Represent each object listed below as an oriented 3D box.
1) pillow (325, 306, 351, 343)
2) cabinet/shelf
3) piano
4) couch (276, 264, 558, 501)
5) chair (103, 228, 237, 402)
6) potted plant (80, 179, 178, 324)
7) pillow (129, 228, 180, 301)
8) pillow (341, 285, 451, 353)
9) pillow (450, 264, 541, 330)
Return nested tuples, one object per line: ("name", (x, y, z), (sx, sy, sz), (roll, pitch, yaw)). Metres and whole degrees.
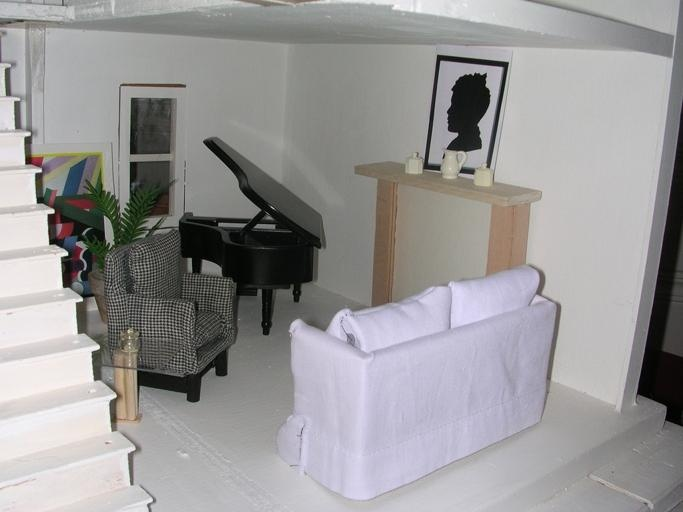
("pillow", (-0.012, 0.407, 3.152), (0.063, 0.204, 0.159), (-9, 21, -36))
("cabinet/shelf", (1.016, -0.222, 4.758), (0.370, 1.118, 1.228), (-6, 20, -32))
("piano", (-0.922, -0.254, 5.430), (1.749, 1.734, 1.252), (15, 16, 35))
("couch", (0.598, 0.731, 3.773), (1.827, 1.189, 0.929), (-9, 8, -32))
("chair", (-1.402, 0.486, 4.226), (0.803, 1.220, 0.995), (7, 17, 19))
("potted plant", (-2.255, -0.074, 5.464), (1.052, 1.629, 1.005), (3, -7, -34))
("pillow", (-1.500, 0.089, 4.225), (0.211, 0.646, 0.586), (0, 5, 27))
("pillow", (0.388, 0.369, 3.294), (0.810, 0.256, 0.326), (-13, 21, -42))
("pillow", (1.048, 0.255, 3.704), (0.608, 0.361, 0.213), (-21, 8, -21))
